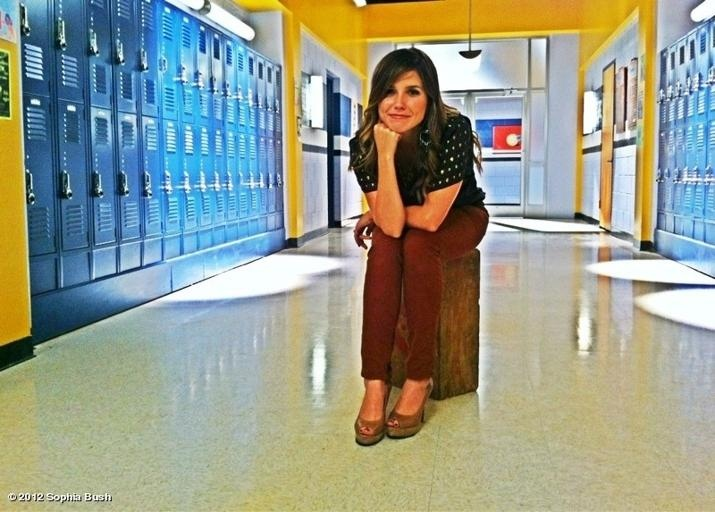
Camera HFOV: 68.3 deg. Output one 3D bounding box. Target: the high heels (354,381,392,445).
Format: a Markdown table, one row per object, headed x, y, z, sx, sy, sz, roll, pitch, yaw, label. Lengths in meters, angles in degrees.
| x | y | z | sx | sy | sz | roll | pitch | yaw | label |
| --- | --- | --- | --- | --- | --- | --- | --- | --- | --- |
| 0.056 | 0.564 | 1.892 | 0.083 | 0.098 | 0.257 | 2 | 40 | 6 | high heels |

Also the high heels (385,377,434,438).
| x | y | z | sx | sy | sz | roll | pitch | yaw | label |
| --- | --- | --- | --- | --- | --- | --- | --- | --- | --- |
| 0.200 | 0.584 | 2.000 | 0.089 | 0.107 | 0.267 | 0 | 6 | 20 | high heels |

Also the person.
| x | y | z | sx | sy | sz | roll | pitch | yaw | label |
| --- | --- | --- | --- | --- | --- | --- | --- | --- | --- |
| 0.178 | -0.076 | 2.035 | 0.493 | 1.415 | 0.699 | 6 | 12 | 25 | person |
